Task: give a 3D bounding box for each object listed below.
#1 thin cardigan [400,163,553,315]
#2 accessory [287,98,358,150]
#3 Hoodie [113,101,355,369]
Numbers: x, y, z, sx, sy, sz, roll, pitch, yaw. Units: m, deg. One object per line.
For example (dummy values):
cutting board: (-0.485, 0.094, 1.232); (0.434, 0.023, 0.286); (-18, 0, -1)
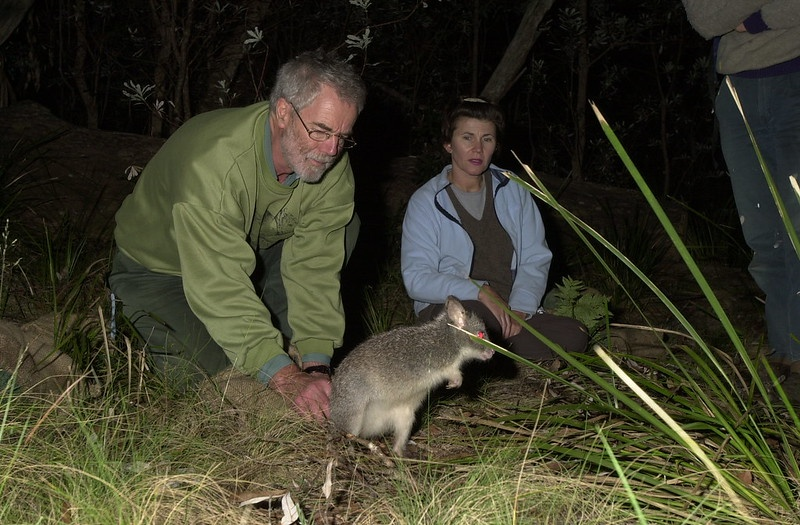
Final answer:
thin cardigan: (0.741, -0.145, 5.965); (1.340, 1.443, 1.027); (-1, -6, -1)
accessory: (-0.512, -0.965, 4.503); (0.399, 0.127, 0.435); (5, -13, 6)
Hoodie: (-1.236, -0.238, 5.136); (2.175, 1.383, 1.553); (46, 42, 15)
